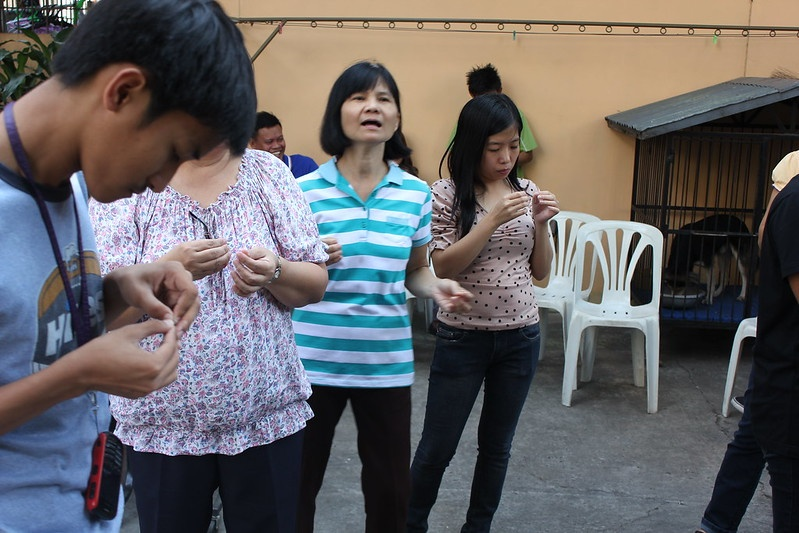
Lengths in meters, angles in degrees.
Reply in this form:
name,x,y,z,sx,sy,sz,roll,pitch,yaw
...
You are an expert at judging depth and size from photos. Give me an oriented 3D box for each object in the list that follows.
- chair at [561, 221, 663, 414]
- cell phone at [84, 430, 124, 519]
name,x,y,z,sx,sy,sz,roll,pitch,yaw
chair,1.814,0.231,5.193,0.760,1.252,2.005,6,13,21
cell phone,-0.672,0.481,1.464,0.042,0.183,0.088,6,-10,-17
